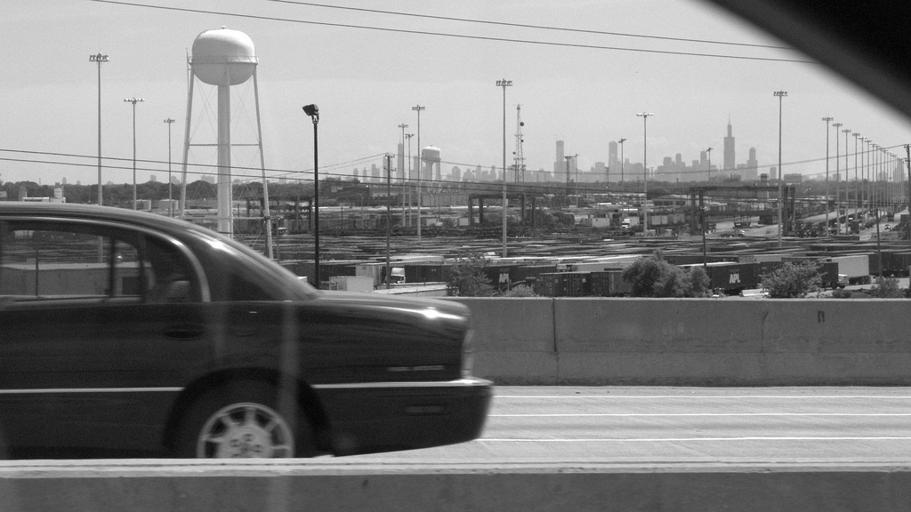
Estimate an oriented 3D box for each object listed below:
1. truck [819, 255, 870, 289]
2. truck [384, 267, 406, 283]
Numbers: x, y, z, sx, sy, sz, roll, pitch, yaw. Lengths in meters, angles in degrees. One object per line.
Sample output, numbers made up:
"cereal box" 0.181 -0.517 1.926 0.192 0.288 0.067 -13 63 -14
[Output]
"truck" 34.501 1.263 154.173 6.982 3.003 2.217 1 -3 -41
"truck" -4.988 1.614 143.929 1.403 1.108 2.212 0 -4 1
